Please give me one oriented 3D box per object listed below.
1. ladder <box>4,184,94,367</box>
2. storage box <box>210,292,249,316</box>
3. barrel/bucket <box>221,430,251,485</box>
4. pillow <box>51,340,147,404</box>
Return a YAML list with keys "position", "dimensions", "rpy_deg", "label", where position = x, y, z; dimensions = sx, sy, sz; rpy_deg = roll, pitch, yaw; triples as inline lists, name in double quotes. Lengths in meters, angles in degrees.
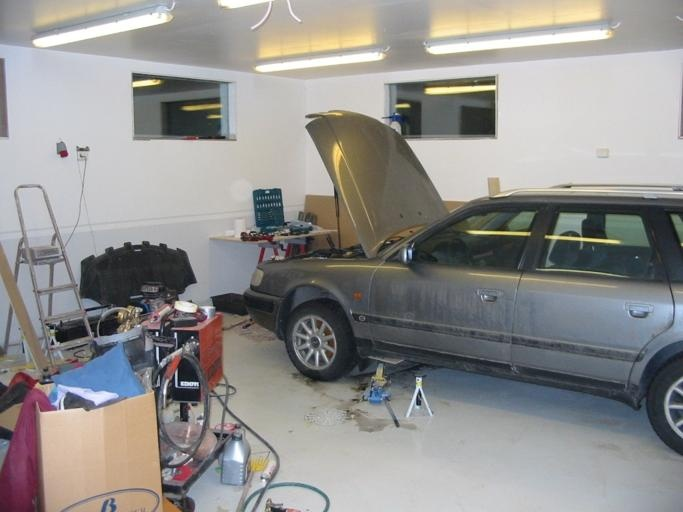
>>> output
- position: [-3.383, 0.197, 5.475]
  dimensions: [0.848, 2.002, 1.391]
  rpy_deg: [-6, 13, -29]
  label: "ladder"
- position: [-1.707, 0.718, 7.268]
  dimensions: [0.470, 0.208, 0.790]
  rpy_deg: [-4, 12, -18]
  label: "storage box"
- position: [-0.735, 1.366, 3.295]
  dimensions: [0.203, 0.418, 0.153]
  rpy_deg: [-3, 12, -16]
  label: "barrel/bucket"
- position: [-1.465, 0.705, 2.833]
  dimensions: [0.574, 0.159, 0.607]
  rpy_deg: [-2, 18, -16]
  label: "pillow"
